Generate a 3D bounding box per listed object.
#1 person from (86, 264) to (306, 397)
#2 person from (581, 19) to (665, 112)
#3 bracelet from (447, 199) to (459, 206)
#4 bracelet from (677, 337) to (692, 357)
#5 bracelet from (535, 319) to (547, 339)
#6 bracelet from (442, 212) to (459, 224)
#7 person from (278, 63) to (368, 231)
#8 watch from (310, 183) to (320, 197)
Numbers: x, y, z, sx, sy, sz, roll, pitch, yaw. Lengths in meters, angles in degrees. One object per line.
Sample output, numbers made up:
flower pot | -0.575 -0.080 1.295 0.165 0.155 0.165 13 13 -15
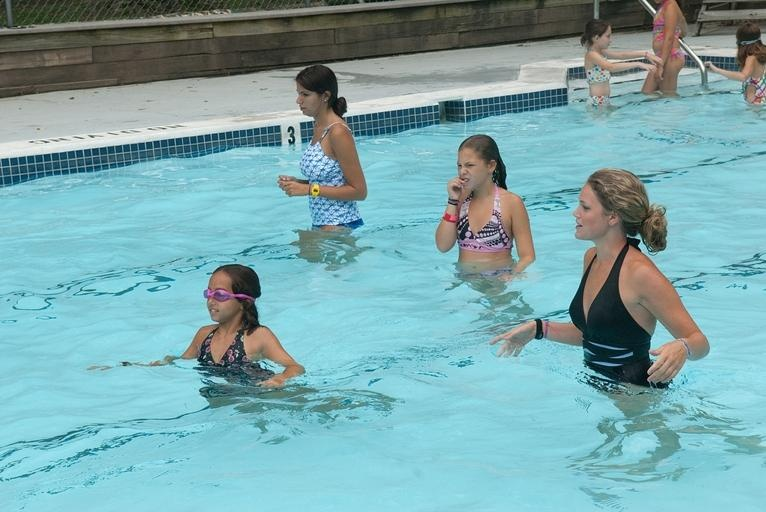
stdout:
person | -1.060 0.515 4.577 1.325 0.721 0.691 -1 8 37
person | 3.549 -2.706 10.395 1.444 1.242 0.923 13 40 35
bracelet | 0.520 -0.392 5.354 0.058 0.022 0.065 13 6 30
bracelet | 1.562 0.469 3.788 0.067 0.096 0.086 -7 20 -2
bracelet | 0.936 0.423 4.304 0.064 0.092 0.089 -5 9 -18
bracelet | 0.521 -0.284 5.455 0.097 0.033 0.106 12 0 39
person | -0.510 -0.842 6.063 0.656 1.419 0.459 -7 23 -1
watch | -0.546 -0.545 6.056 0.093 0.088 0.111 2 10 -3
